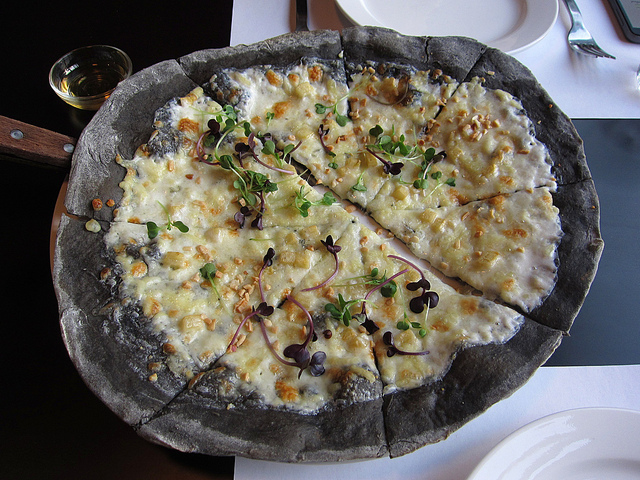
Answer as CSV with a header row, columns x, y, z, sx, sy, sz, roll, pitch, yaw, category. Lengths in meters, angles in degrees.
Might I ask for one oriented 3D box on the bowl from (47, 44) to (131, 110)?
x,y,z,sx,sy,sz,roll,pitch,yaw,category
-1.525,-1.097,4.006,0.508,0.225,0.545,0,73,-2,bowl
